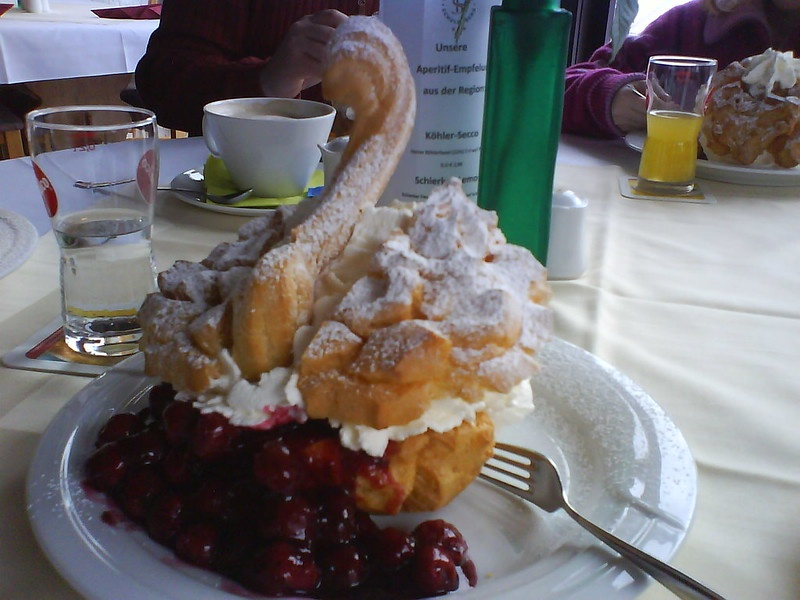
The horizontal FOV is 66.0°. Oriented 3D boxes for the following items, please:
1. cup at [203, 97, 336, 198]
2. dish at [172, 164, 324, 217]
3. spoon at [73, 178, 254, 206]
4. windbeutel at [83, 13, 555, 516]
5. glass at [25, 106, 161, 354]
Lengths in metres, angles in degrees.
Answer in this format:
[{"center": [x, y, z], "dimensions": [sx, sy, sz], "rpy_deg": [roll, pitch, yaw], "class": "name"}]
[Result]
[{"center": [-0.238, -0.285, 1.119], "dimensions": [0.215, 0.137, 0.198], "rpy_deg": [2, 21, -1], "class": "cup"}, {"center": [-0.337, -0.208, 1.146], "dimensions": [0.157, 0.029, 0.156], "rpy_deg": [-11, -12, 10], "class": "dish"}, {"center": [-0.377, -0.192, 1.036], "dimensions": [0.308, 0.049, 0.054], "rpy_deg": [2, 30, -1], "class": "spoon"}, {"center": [-0.044, -0.029, 0.636], "dimensions": [0.380, 0.449, 0.383], "rpy_deg": [0, 13, 2], "class": "windbeutel"}, {"center": [-0.355, -0.077, 0.748], "dimensions": [0.159, 0.275, 0.163], "rpy_deg": [11, 20, 18], "class": "glass"}]
